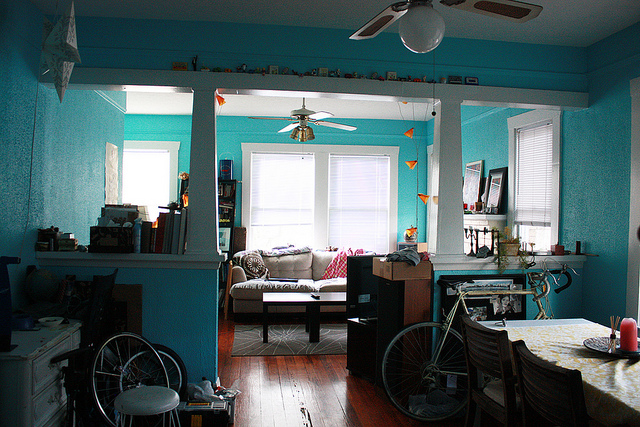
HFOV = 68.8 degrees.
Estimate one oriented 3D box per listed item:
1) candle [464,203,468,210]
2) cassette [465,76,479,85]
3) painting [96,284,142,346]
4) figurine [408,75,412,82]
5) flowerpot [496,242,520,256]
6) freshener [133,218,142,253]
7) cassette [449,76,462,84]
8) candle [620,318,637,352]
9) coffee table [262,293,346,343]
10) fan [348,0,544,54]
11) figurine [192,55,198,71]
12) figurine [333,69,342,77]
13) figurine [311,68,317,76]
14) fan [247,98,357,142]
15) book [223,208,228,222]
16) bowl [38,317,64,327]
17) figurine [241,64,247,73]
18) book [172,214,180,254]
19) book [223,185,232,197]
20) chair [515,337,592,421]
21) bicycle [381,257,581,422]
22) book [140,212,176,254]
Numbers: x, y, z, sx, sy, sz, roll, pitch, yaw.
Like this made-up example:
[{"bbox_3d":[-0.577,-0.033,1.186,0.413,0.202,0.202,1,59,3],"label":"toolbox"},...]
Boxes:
[{"bbox_3d":[2.158,-0.117,6.944,0.066,0.095,0.065,0,-3,22],"label":"candle"},{"bbox_3d":[1.586,-1.391,4.911,0.136,0.087,0.028,1,7,-6],"label":"cassette"},{"bbox_3d":[-1.896,0.915,4.487,0.323,0.469,0.325,-14,-18,25],"label":"painting"},{"bbox_3d":[0.921,-1.380,4.804,0.047,0.078,0.044,1,-2,10],"label":"figurine"},{"bbox_3d":[2.004,0.367,4.958,0.164,0.096,0.163,1,-4,5],"label":"flowerpot"},{"bbox_3d":[-1.759,0.213,4.520,0.076,0.307,0.131,0,7,-17],"label":"freshener"},{"bbox_3d":[1.417,-1.395,4.899,0.101,0.084,0.023,2,-6,-3],"label":"cassette"},{"bbox_3d":[2.352,0.914,3.564,0.119,0.225,0.128,7,8,32],"label":"candle"},{"bbox_3d":[-0.217,1.346,6.227,1.072,0.574,0.557,2,7,-4],"label":"coffee table"},{"bbox_3d":[0.958,-1.422,3.500,0.772,0.253,0.702,-2,-1,-6],"label":"fan"},{"bbox_3d":[-1.228,-1.467,4.604,0.047,0.133,0.032,0,7,-15],"label":"figurine"},{"bbox_3d":[0.178,-1.420,4.751,0.074,0.026,0.070,1,0,-8],"label":"figurine"},{"bbox_3d":[-0.061,-1.423,4.722,0.057,0.089,0.051,1,-3,-6],"label":"figurine"},{"bbox_3d":[-0.140,-1.310,6.476,1.474,0.538,1.458,-9,17,-39],"label":"fan"},{"bbox_3d":[-1.623,0.023,8.044,0.075,0.232,0.066,1,7,-8],"label":"book"},{"bbox_3d":[-2.310,0.923,4.029,0.187,0.046,0.175,2,6,0],"label":"bowl"},{"bbox_3d":[-0.747,-1.440,4.649,0.043,0.079,0.023,1,7,-13],"label":"figurine"},{"bbox_3d":[-1.398,0.207,4.545,0.068,0.256,0.270,1,5,-7],"label":"book"},{"bbox_3d":[-1.613,-0.401,8.149,0.180,0.165,0.041,-2,-6,-1],"label":"book"},{"bbox_3d":[1.548,1.235,3.203,0.306,0.633,0.442,2,7,-6],"label":"chair"},{"bbox_3d":[1.420,1.218,4.584,1.641,1.386,0.675,0,7,-15],"label":"bicycle"},{"bbox_3d":[-1.615,0.205,4.642,0.281,0.385,0.417,5,-5,-16],"label":"book"}]
